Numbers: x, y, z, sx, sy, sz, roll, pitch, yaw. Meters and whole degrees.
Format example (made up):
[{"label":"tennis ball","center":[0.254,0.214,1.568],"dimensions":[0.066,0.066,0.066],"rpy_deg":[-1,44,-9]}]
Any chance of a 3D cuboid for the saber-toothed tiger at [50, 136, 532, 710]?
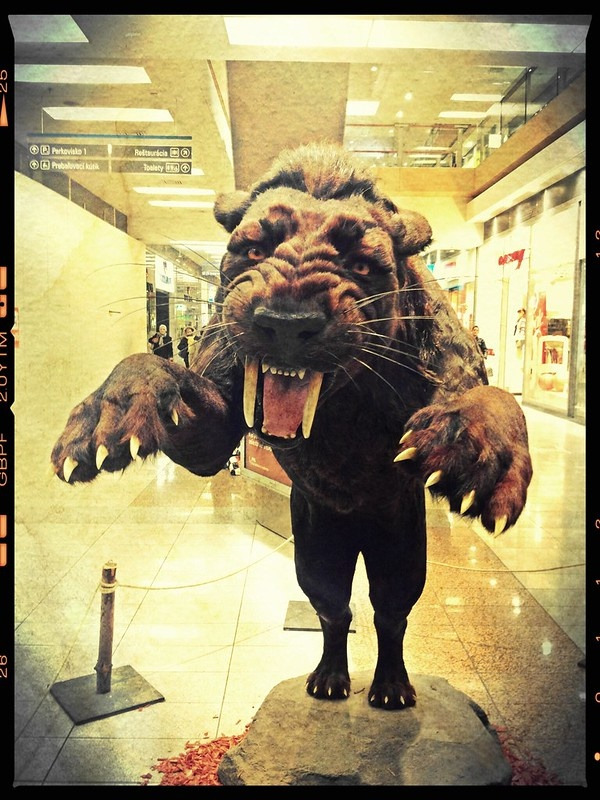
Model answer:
[{"label":"saber-toothed tiger","center":[-0.052,0.270,2.930],"dimensions":[1.392,2.286,1.594],"rpy_deg":[7,18,-9]}]
